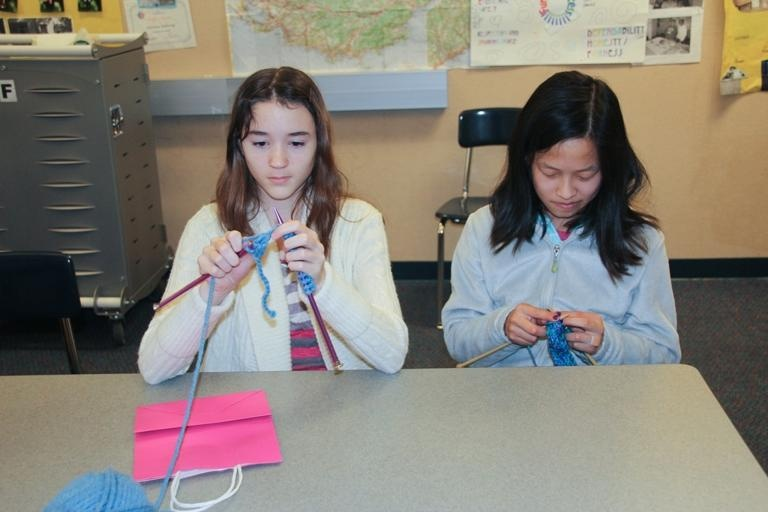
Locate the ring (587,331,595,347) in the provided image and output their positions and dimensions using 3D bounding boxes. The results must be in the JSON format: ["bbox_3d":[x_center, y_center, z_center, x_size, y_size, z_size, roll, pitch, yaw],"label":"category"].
[{"bbox_3d":[0.568,0.227,1.619,0.009,0.026,0.019,14,-9,-7],"label":"ring"}]

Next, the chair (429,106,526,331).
[{"bbox_3d":[0.712,-0.167,3.535,0.828,1.315,0.893,1,5,14],"label":"chair"}]
